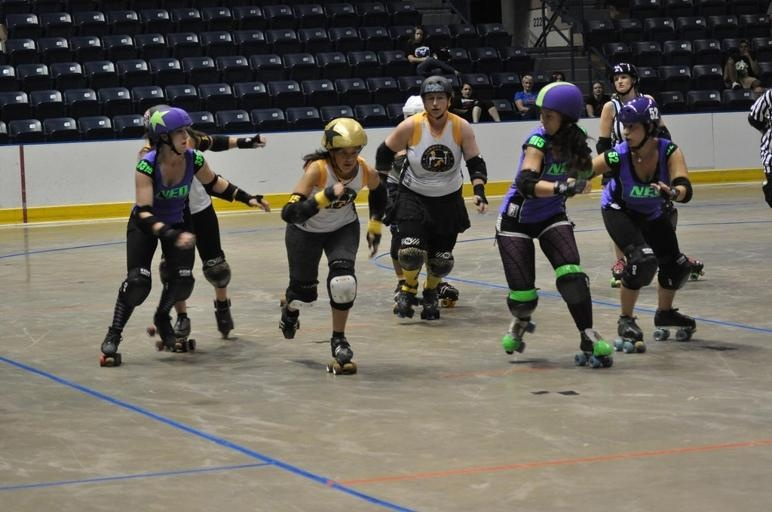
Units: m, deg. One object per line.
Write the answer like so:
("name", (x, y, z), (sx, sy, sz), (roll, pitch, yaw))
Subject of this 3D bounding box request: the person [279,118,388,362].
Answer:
("person", (-0.380, -0.096, 5.970), (0.835, 1.863, 0.991), (-1, 3, -6))

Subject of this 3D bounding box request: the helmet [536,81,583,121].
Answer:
("helmet", (1.241, -1.112, 5.846), (0.308, 0.301, 0.266), (0, 3, 13))

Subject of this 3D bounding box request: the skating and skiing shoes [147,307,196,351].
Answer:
("skating and skiing shoes", (-1.739, 0.644, 6.580), (0.248, 0.258, 0.470), (0, -4, -22))

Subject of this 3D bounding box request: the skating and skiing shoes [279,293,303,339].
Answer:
("skating and skiing shoes", (-0.707, 0.459, 6.381), (0.161, 0.385, 0.194), (-9, 31, -23))

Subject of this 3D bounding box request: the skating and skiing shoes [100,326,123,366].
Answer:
("skating and skiing shoes", (-2.096, 0.679, 6.177), (0.157, 0.283, 0.211), (-1, 3, -16))

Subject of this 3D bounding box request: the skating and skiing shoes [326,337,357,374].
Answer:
("skating and skiing shoes", (-0.334, 0.736, 5.976), (0.155, 0.177, 0.283), (2, -2, -19))

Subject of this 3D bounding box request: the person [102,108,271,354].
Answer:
("person", (-1.730, -0.184, 6.410), (0.793, 1.961, 1.068), (0, 3, 11))

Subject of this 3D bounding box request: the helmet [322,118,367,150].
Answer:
("helmet", (-0.287, -0.863, 5.728), (0.233, 0.201, 0.286), (-6, 7, -34))

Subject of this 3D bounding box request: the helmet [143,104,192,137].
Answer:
("helmet", (-1.667, -1.023, 6.147), (0.370, 0.178, 0.237), (4, 9, 4))
